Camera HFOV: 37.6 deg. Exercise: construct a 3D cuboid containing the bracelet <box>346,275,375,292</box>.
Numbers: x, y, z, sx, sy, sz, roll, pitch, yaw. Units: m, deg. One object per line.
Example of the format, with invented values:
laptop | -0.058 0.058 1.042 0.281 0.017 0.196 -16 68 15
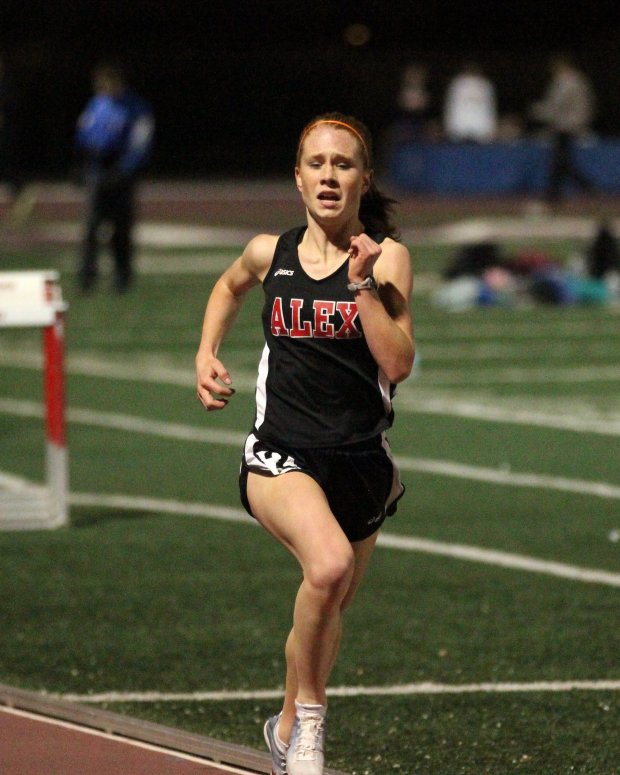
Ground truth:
bracelet | 0.106 -0.211 1.880 0.043 0.021 0.043 -6 3 1
